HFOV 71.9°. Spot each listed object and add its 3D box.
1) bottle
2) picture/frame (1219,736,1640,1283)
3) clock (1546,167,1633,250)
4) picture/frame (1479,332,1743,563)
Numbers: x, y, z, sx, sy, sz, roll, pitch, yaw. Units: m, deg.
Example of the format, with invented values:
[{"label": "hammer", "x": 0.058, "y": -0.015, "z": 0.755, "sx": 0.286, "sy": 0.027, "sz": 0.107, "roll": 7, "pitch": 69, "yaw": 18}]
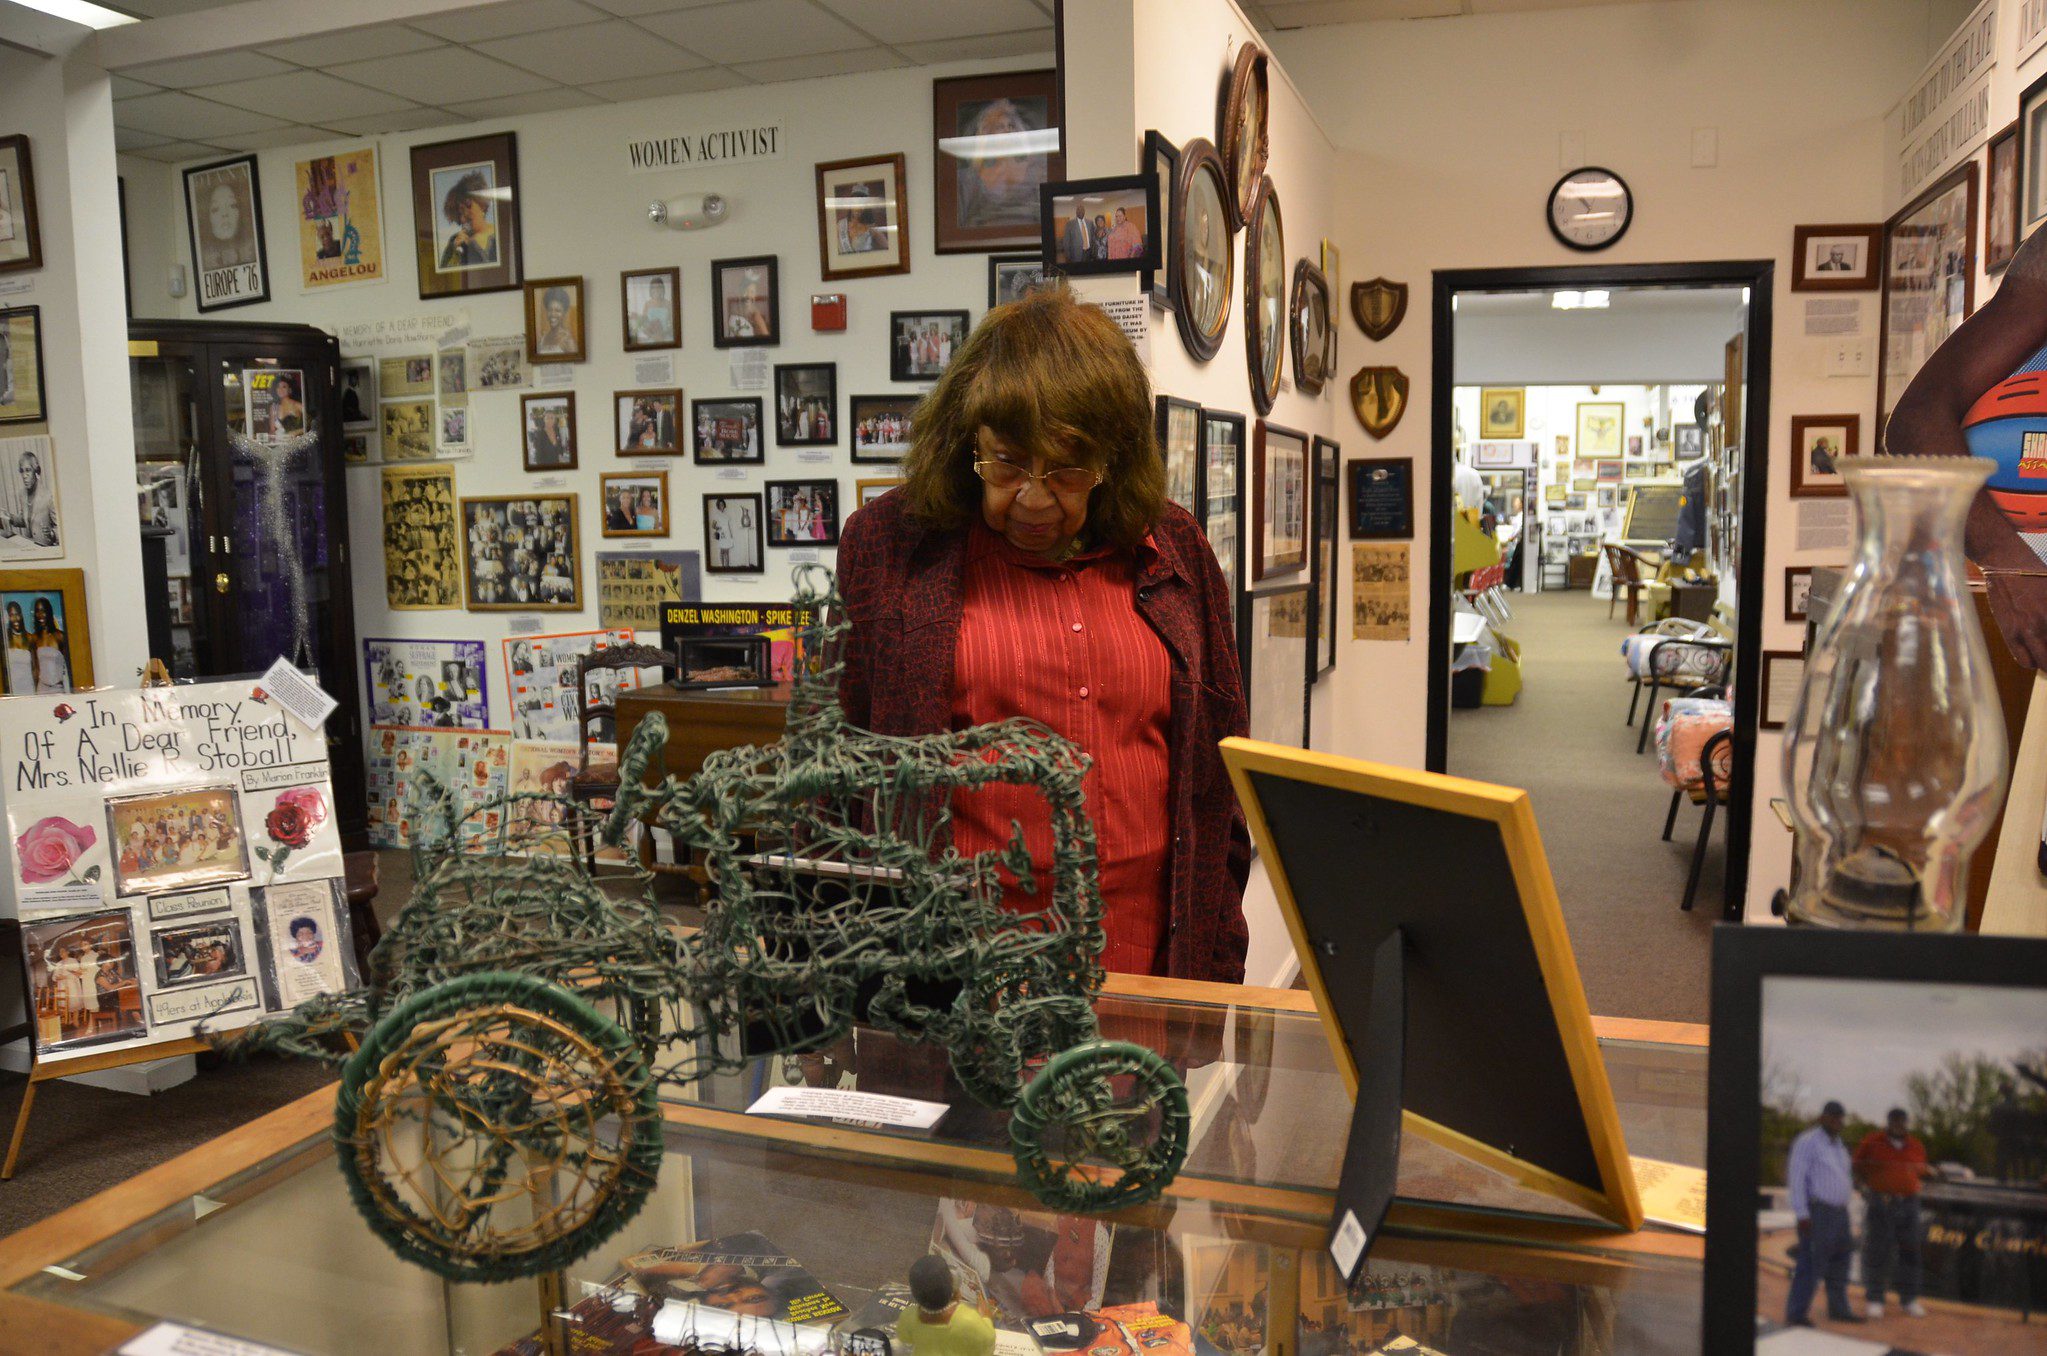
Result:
[{"label": "bottle", "x": 1.048, "y": 0.021, "z": 1.776, "sx": 0.322, "sy": 0.592, "sz": 0.169, "roll": -6, "pitch": 6, "yaw": -14}, {"label": "picture/frame", "x": 0.445, "y": 0.406, "z": 1.732, "sx": 0.294, "sy": 0.574, "sz": 0.462, "roll": -20, "pitch": 13, "yaw": -31}, {"label": "clock", "x": 2.480, "y": -2.072, "z": 6.179, "sx": 0.350, "sy": 0.359, "sz": 0.035, "roll": 2, "pitch": 3, "yaw": 9}, {"label": "picture/frame", "x": 5.064, "y": -2.105, "z": 12.208, "sx": 2.556, "sy": 2.638, "sz": 0.032, "roll": 1, "pitch": 2, "yaw": 11}]
